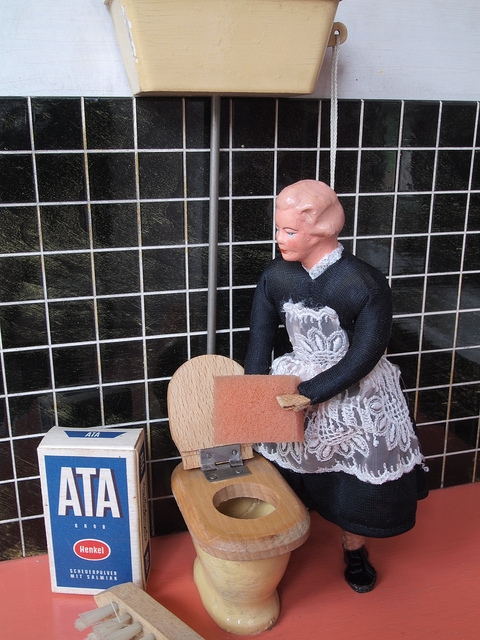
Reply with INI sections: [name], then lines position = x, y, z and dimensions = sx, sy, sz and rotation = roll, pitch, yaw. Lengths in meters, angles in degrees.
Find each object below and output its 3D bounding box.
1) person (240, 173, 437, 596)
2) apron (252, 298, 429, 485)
[person]
position = 0.251, 0.164, 1.325
dimensions = 0.495, 1.008, 0.455
rotation = -5, 15, -1
[apron]
position = 0.266, 0.146, 1.306
dimensions = 0.345, 0.383, 0.281
rotation = 17, 24, 36
